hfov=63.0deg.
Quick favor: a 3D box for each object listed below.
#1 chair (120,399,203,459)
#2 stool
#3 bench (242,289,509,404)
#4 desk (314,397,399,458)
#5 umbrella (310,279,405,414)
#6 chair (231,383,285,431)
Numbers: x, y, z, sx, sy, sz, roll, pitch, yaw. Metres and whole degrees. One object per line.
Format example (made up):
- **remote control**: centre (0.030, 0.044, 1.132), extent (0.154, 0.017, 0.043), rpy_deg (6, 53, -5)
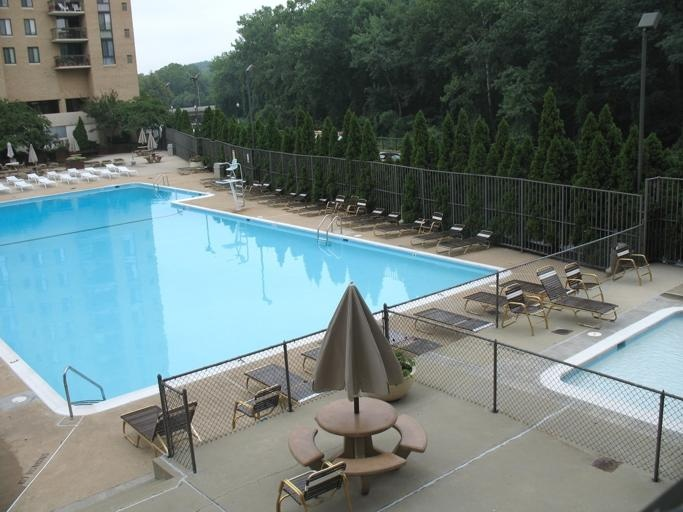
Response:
- **chair**: centre (-3.570, 3.239, 10.975), extent (1.644, 1.130, 0.844), rpy_deg (14, 15, 38)
- **stool**: centre (0.280, 3.169, 8.958), extent (1.348, 0.499, 1.435), rpy_deg (2, 22, 15)
- **bench**: centre (1.690, 2.201, 13.274), extent (3.117, 0.817, 2.947), rpy_deg (18, 33, 37)
- **desk**: centre (0.180, 2.949, 9.188), extent (1.245, 0.822, 1.226), rpy_deg (12, -39, -45)
- **umbrella**: centre (0.224, 1.373, 9.218), extent (1.389, 1.637, 1.237), rpy_deg (-5, 18, -12)
- **chair**: centre (-1.662, 3.094, 11.266), extent (0.557, 0.853, 0.586), rpy_deg (-13, 31, -41)
